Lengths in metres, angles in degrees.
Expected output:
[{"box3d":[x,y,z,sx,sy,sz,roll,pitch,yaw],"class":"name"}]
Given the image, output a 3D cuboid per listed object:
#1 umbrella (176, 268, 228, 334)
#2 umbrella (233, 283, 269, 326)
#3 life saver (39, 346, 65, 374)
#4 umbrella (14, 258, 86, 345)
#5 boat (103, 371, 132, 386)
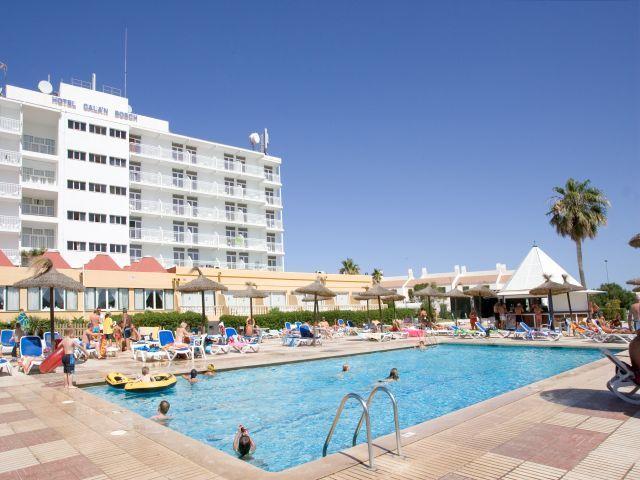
[{"box3d":[-5.820,2.957,23.626,2.615,3.152,2.653,-5,-3,33],"class":"umbrella"},{"box3d":[-4.577,4.012,31.715,2.282,2.364,2.143,1,4,14],"class":"umbrella"},{"box3d":[-8.269,3.693,14.733,0.587,0.790,0.669,1,-9,-17],"class":"life saver"},{"box3d":[-10.103,2.313,17.925,1.548,3.333,1.467,-6,-10,28],"class":"umbrella"},{"box3d":[-6.220,4.222,14.444,0.484,0.217,0.650,3,1,-40],"class":"boat"}]
